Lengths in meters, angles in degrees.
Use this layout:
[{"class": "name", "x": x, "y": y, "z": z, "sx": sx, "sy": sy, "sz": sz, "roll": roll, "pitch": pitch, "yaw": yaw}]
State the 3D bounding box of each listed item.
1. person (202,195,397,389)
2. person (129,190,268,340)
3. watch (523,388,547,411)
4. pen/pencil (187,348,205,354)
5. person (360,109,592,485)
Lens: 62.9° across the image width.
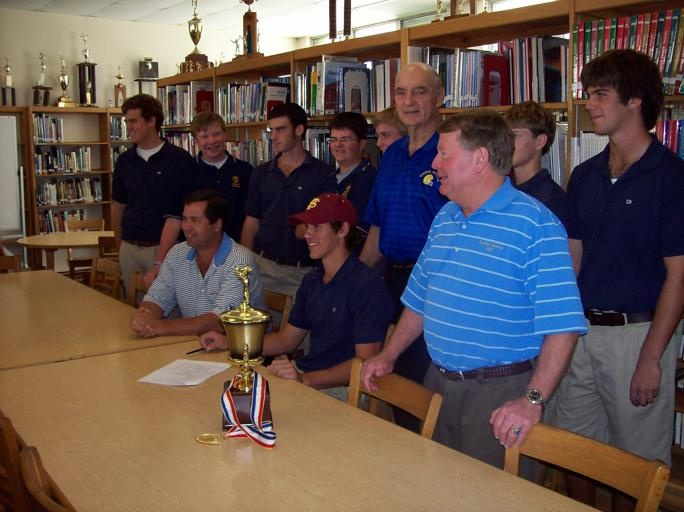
[{"class": "person", "x": -0.163, "y": 0.218, "z": 2.563, "sx": 0.584, "sy": 1.102, "sz": 0.539, "roll": -6, "pitch": 10, "yaw": -35}, {"class": "person", "x": -0.754, "y": 0.095, "z": 3.015, "sx": 0.579, "sy": 0.914, "sz": 0.612, "roll": -5, "pitch": 17, "yaw": -32}, {"class": "watch", "x": 0.592, "y": 0.433, "z": 1.705, "sx": 0.043, "sy": 0.069, "sz": 0.063, "roll": -50, "pitch": 38, "yaw": -11}, {"class": "pen/pencil", "x": -0.651, "y": 0.422, "z": 2.492, "sx": 0.071, "sy": 0.010, "sz": 0.010, "roll": -15, "pitch": 20, "yaw": -35}, {"class": "person", "x": 0.477, "y": 0.438, "z": 2.118, "sx": 0.496, "sy": 1.864, "sz": 0.795, "roll": -14, "pitch": 17, "yaw": -42}]
